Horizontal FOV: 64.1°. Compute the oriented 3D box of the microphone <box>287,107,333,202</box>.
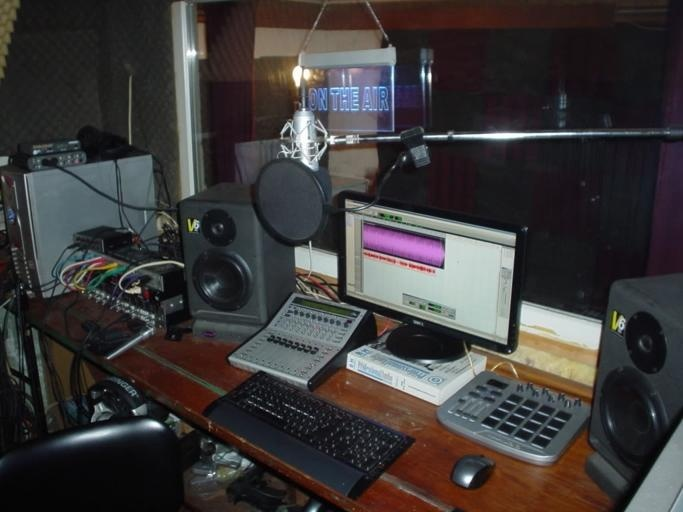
[{"bbox_3d":[-0.083,-0.274,1.449,0.113,0.231,0.102,1,18,5],"label":"microphone"}]

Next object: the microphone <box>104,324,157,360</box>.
[{"bbox_3d":[-0.709,0.292,1.892,0.050,0.060,0.214,31,44,18],"label":"microphone"}]

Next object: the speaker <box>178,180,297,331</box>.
[{"bbox_3d":[-0.375,0.016,1.989,0.336,0.509,0.308,10,21,22],"label":"speaker"}]
